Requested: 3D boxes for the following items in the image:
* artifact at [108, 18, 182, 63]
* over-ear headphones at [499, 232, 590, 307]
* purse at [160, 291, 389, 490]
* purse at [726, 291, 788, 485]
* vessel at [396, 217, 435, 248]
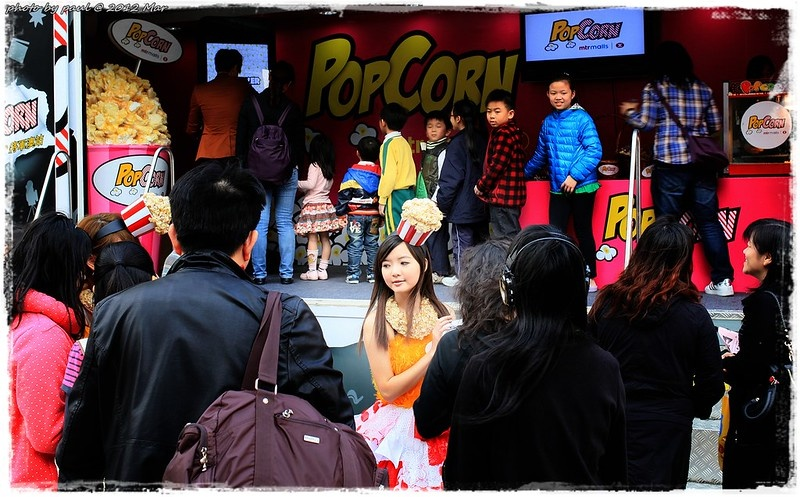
[{"bbox_3d":[-2.952,-2.424,7.455,0.807,0.430,0.107,20,-6,-37],"label":"artifact"},{"bbox_3d":[0.644,0.086,2.842,0.385,0.316,0.135,1,15,-7],"label":"over-ear headphones"},{"bbox_3d":[-0.553,0.631,2.800,0.876,0.844,0.394,17,-39,-25],"label":"purse"},{"bbox_3d":[1.958,0.777,3.537,0.357,0.869,0.151,4,3,27],"label":"purse"},{"bbox_3d":[0.092,-0.105,4.541,0.208,0.129,0.190,38,8,39],"label":"vessel"}]
